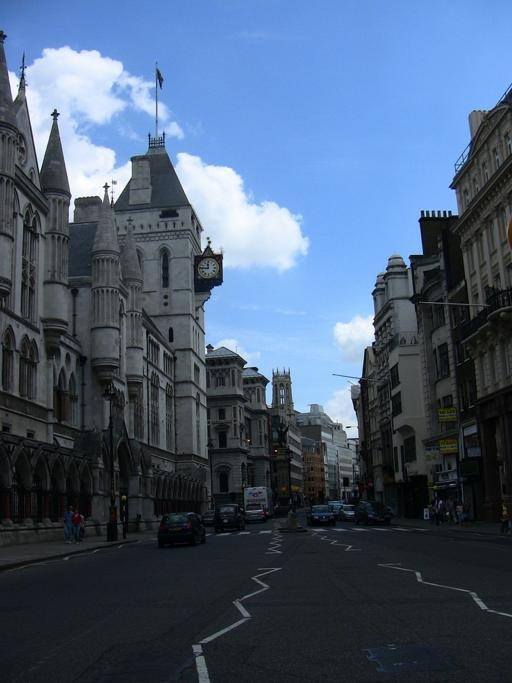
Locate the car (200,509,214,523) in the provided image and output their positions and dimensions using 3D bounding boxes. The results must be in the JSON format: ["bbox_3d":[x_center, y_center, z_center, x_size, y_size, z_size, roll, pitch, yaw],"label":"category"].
[{"bbox_3d":[-3.839,14.338,60.784,1.273,0.999,2.886,0,-1,1],"label":"car"}]

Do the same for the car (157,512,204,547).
[{"bbox_3d":[-2.882,7.367,29.405,1.048,0.927,2.109,-2,-8,4],"label":"car"}]

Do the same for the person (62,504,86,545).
[{"bbox_3d":[-8.221,8.315,33.691,0.802,1.421,1.718,1,-13,-17],"label":"person"}]
